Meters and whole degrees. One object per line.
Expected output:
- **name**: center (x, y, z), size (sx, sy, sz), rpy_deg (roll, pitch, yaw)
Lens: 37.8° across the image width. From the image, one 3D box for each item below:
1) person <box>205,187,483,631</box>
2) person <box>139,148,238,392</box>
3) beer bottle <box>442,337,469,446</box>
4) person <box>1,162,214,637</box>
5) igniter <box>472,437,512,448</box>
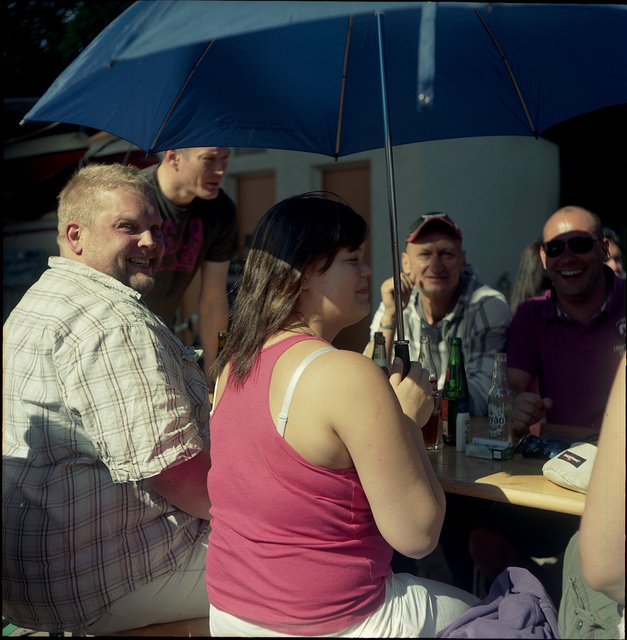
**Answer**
- **person**: center (0.031, 0.185, 2.392), size (0.912, 1.313, 0.800), rpy_deg (-1, 2, -37)
- **person**: center (-0.643, -0.360, 3.949), size (0.468, 1.455, 0.521), rpy_deg (-8, 19, -35)
- **beer bottle**: center (0.585, 0.219, 2.729), size (0.089, 0.337, 0.096), rpy_deg (-1, 6, 0)
- **person**: center (-0.696, 0.187, 2.393), size (0.743, 1.197, 0.539), rpy_deg (3, 2, -10)
- **igniter**: center (0.697, 0.336, 2.535), size (0.067, 0.017, 0.016), rpy_deg (7, 25, 30)
